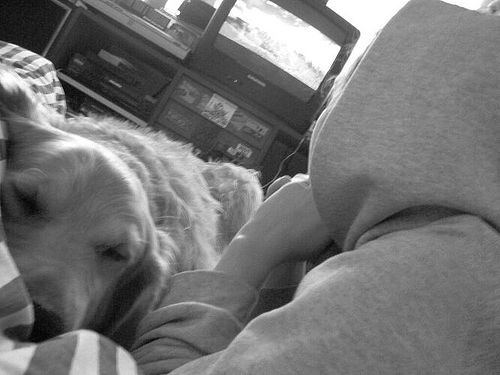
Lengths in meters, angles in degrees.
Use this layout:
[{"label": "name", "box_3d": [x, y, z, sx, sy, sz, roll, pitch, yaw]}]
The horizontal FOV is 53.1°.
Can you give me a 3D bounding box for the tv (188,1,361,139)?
[{"label": "tv", "box_3d": [0.074, -0.512, 2.135, 0.572, 0.521, 0.326, 30, 13, -7]}]
